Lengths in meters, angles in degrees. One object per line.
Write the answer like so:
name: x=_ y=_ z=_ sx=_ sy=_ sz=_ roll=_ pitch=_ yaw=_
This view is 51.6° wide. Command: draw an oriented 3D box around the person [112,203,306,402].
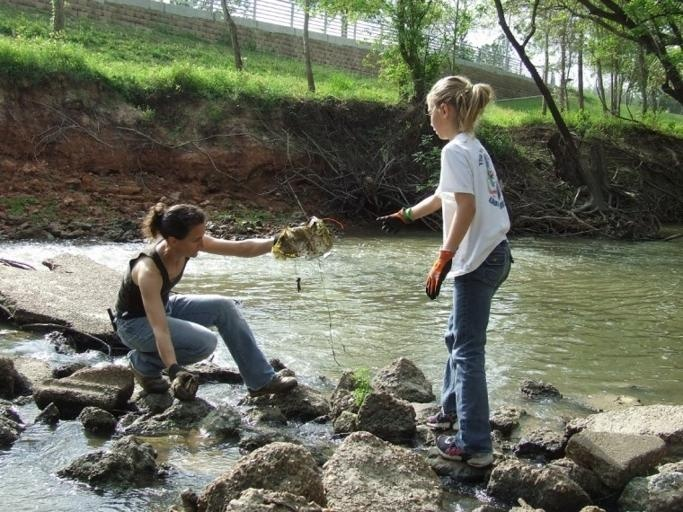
person: x=-1.442 y=0.427 z=6.877 sx=1.558 sy=1.867 sz=0.955 roll=2 pitch=12 yaw=-11

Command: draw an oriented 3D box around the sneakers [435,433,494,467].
sneakers: x=1.030 y=1.703 z=6.258 sx=0.556 sy=0.205 sz=0.202 roll=16 pitch=10 yaw=20

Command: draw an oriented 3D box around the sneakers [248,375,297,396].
sneakers: x=-0.619 y=1.262 z=6.912 sx=0.535 sy=0.188 sz=0.167 roll=-13 pitch=23 yaw=8

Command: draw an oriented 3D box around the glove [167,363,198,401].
glove: x=-1.492 y=1.184 z=6.621 sx=0.267 sy=0.334 sz=0.220 roll=2 pitch=12 yaw=-12

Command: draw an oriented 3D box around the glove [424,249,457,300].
glove: x=0.855 y=0.168 z=6.158 sx=0.200 sy=0.484 sz=0.225 roll=7 pitch=12 yaw=8

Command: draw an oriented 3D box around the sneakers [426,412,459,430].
sneakers: x=0.936 y=1.540 z=6.539 sx=0.329 sy=0.139 sz=0.125 roll=5 pitch=18 yaw=28
